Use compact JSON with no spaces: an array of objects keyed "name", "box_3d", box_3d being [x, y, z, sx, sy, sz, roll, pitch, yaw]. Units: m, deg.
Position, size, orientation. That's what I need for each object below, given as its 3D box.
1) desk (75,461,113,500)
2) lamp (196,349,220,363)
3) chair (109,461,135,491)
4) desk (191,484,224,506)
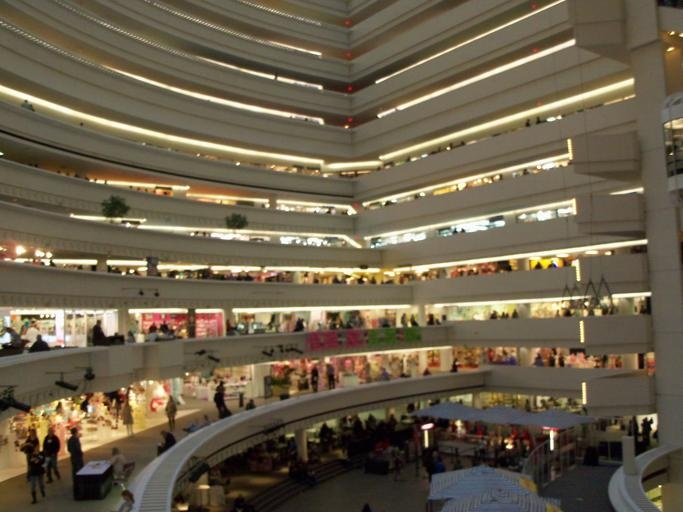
[{"name":"desk","box_3d":[-7.957,7.494,21.450,0.871,0.774,1.740,-4,-4,8]},{"name":"lamp","box_3d":[-6.631,4.946,31.897,1.260,0.456,0.477,28,-48,-21]},{"name":"chair","box_3d":[-7.567,7.554,22.140,0.728,0.805,0.692,1,-7,6]},{"name":"desk","box_3d":[-5.625,10.131,27.399,1.382,0.805,0.894,0,-2,9]}]
